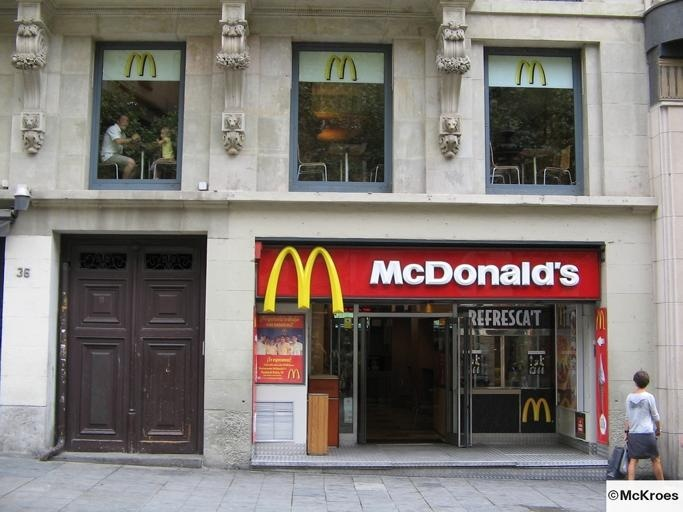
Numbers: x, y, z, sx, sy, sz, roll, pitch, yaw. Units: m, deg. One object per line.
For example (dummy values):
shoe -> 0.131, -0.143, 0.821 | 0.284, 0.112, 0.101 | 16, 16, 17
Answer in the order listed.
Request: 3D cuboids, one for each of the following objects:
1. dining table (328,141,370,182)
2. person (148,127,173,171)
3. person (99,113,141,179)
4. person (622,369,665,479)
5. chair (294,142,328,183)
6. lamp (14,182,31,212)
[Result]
dining table -> 0.172, -1.918, 19.703 | 1.052, 1.221, 0.659 | 0, 0, 0
person -> -3.635, -2.088, 19.346 | 0.493, 0.966, 0.212 | -1, 9, -13
person -> -4.495, -2.208, 19.375 | 0.730, 1.237, 0.361 | 4, 9, 16
person -> 5.487, 3.093, 17.252 | 0.665, 1.917, 0.617 | 2, 9, 7
chair -> -0.590, -1.852, 19.342 | 0.656, 1.206, 0.592 | 0, 0, 2
lamp -> -6.200, -1.132, 18.537 | 0.427, 0.595, 0.413 | 0, -1, -5
